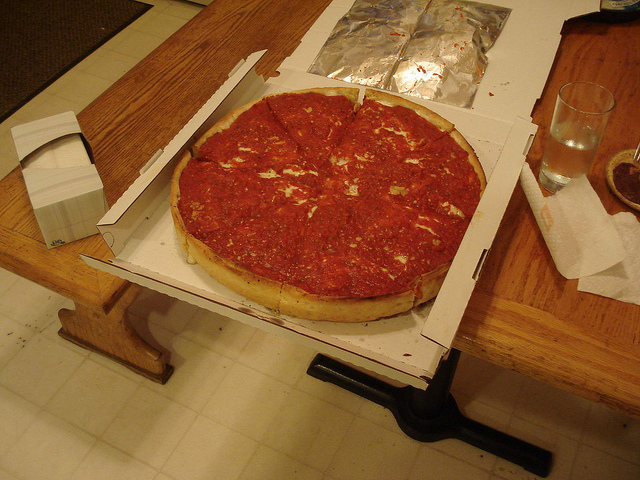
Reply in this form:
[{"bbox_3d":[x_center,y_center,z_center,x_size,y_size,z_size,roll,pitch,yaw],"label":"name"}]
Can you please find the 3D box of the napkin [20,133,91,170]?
[{"bbox_3d":[-0.791,-0.255,1.503,0.163,0.037,0.148,-18,66,-13],"label":"napkin"}]
